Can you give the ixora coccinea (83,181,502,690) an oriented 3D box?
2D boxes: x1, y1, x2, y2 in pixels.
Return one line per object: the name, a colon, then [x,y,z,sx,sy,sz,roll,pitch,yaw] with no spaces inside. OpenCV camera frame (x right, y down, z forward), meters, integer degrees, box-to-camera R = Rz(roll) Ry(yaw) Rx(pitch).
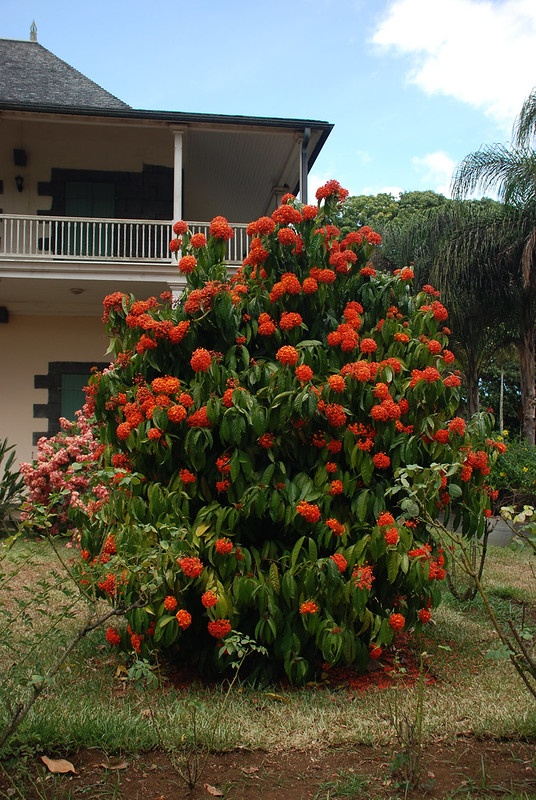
ixora coccinea: [0.102,0.138,3.823,2.047,2.730,0.900,1,-3,-3]
